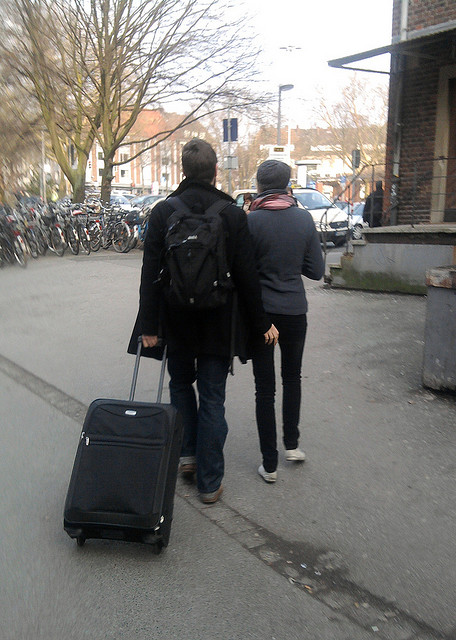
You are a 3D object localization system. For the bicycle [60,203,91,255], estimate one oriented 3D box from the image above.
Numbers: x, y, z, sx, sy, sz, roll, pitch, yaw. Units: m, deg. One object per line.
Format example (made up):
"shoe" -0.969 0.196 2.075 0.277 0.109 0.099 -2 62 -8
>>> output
"bicycle" -5.237 -3.220 17.309 0.934 1.453 2.441 -1 22 -17

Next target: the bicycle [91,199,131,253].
"bicycle" -4.089 -3.499 17.360 1.017 1.411 2.292 18 29 4

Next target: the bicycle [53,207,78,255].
"bicycle" -5.403 -2.978 16.705 1.407 0.847 0.691 37 40 19

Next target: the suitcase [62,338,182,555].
"suitcase" -0.444 0.692 2.132 0.440 0.641 0.413 1 2 1

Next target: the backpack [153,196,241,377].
"backpack" -0.140 -0.184 2.465 0.454 0.869 0.400 1 3 -8

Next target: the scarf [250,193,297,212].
"scarf" 0.263 -0.688 2.921 0.252 0.095 0.115 1 2 6

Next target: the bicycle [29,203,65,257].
"bicycle" -5.829 -2.933 16.784 0.889 1.277 2.103 -3 18 -38

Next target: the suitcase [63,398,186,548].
"suitcase" -0.447 0.664 2.151 0.449 0.255 0.643 5 54 -1
